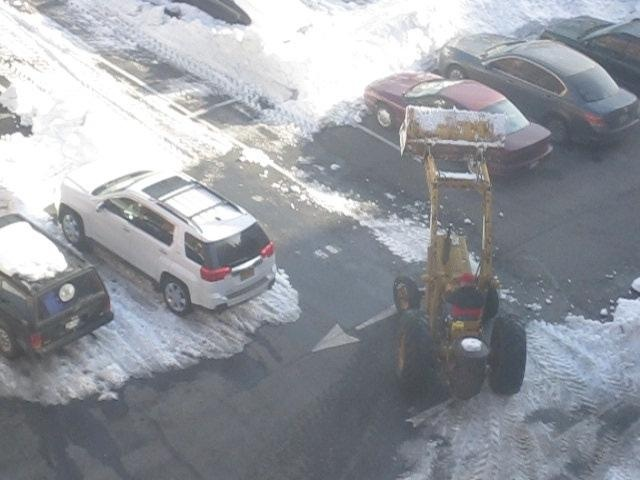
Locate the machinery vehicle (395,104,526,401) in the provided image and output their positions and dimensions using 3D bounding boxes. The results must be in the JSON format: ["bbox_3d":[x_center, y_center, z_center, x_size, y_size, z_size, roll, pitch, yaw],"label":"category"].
[{"bbox_3d":[2.722,-0.034,13.237,2.380,4.249,4.666,2,38,6],"label":"machinery vehicle"}]
